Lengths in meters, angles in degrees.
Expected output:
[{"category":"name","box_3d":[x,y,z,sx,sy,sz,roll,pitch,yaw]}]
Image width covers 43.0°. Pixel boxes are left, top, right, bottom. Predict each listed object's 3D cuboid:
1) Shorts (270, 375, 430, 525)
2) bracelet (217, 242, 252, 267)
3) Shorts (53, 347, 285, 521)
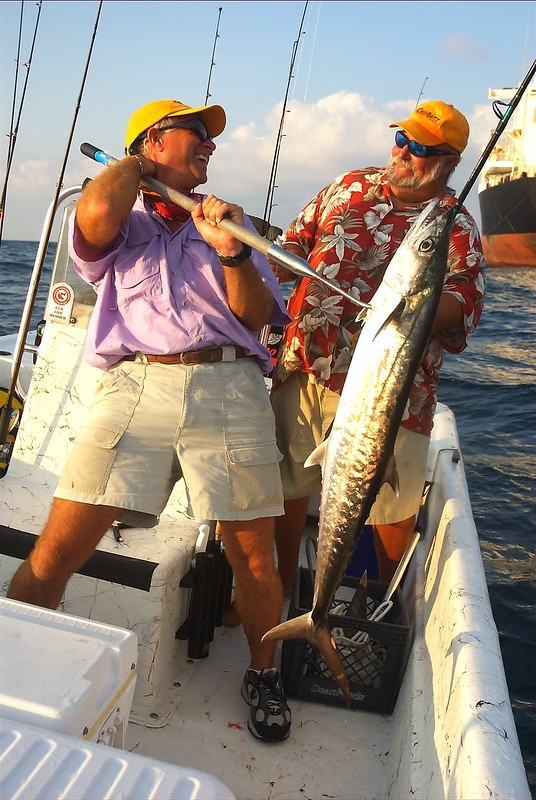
[{"category":"Shorts","box_3d":[0.327,0.147,2.875,0.535,0.656,0.193,24,17,22]},{"category":"bracelet","box_3d":[-0.097,-0.416,1.950,0.088,0.073,0.061,11,11,-7]},{"category":"Shorts","box_3d":[-0.217,0.091,2.237,0.931,0.637,0.484,6,-13,-6]}]
